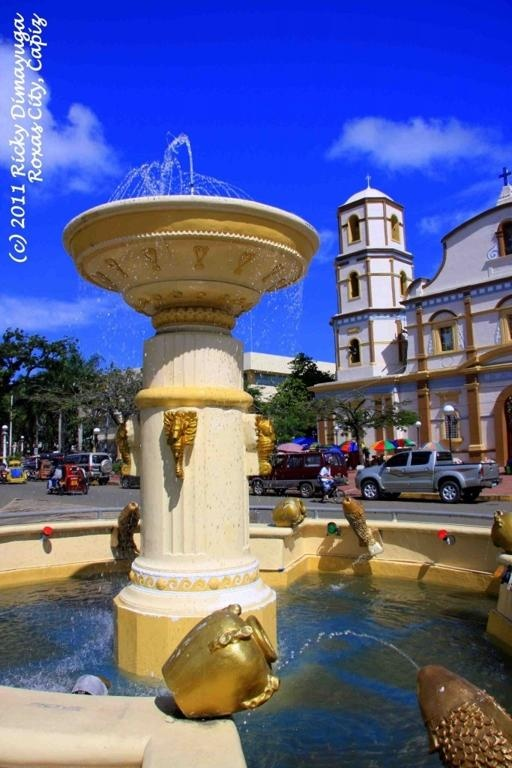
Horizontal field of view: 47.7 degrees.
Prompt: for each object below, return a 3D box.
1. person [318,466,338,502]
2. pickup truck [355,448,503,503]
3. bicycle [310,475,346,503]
[{"bbox_3d":[2.405,3.381,19.416,0.500,1.090,1.246,-3,-5,15],"label":"person"},{"bbox_3d":[5.417,2.997,18.438,4.078,1.536,1.918,-2,-10,35],"label":"pickup truck"},{"bbox_3d":[2.411,3.705,20.127,1.219,0.741,0.803,-12,-15,37],"label":"bicycle"}]
